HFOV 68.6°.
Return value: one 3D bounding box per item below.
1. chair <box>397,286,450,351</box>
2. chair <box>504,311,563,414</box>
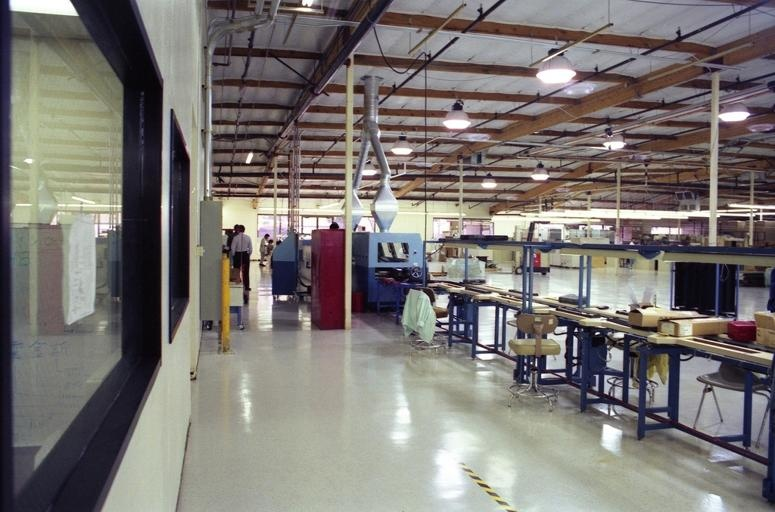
[{"bbox_3d":[0.525,0.880,7.857,0.538,0.919,1.457,1,2,5],"label":"chair"},{"bbox_3d":[1.588,1.057,6.179,0.505,0.935,1.046,1,2,12],"label":"chair"}]
